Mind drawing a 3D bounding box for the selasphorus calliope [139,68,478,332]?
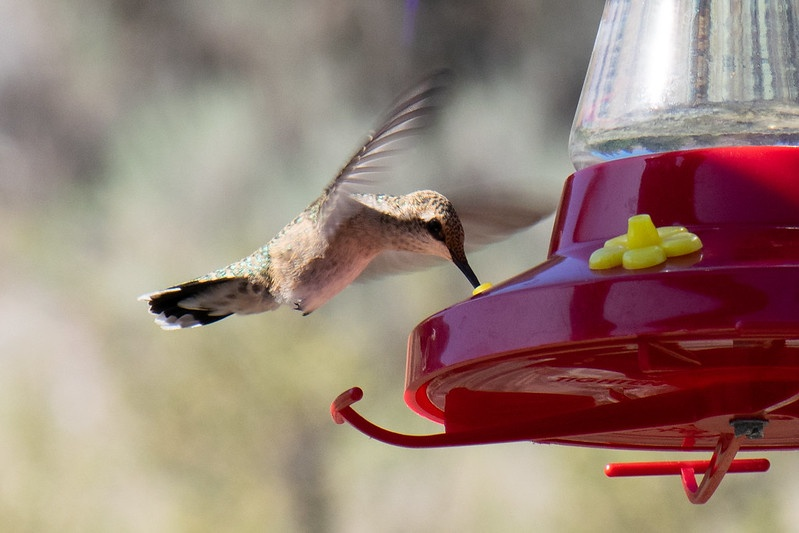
[{"bbox_3d":[-0.281,-0.085,3.228,0.744,0.418,0.893,11,-7,9],"label":"selasphorus calliope"}]
